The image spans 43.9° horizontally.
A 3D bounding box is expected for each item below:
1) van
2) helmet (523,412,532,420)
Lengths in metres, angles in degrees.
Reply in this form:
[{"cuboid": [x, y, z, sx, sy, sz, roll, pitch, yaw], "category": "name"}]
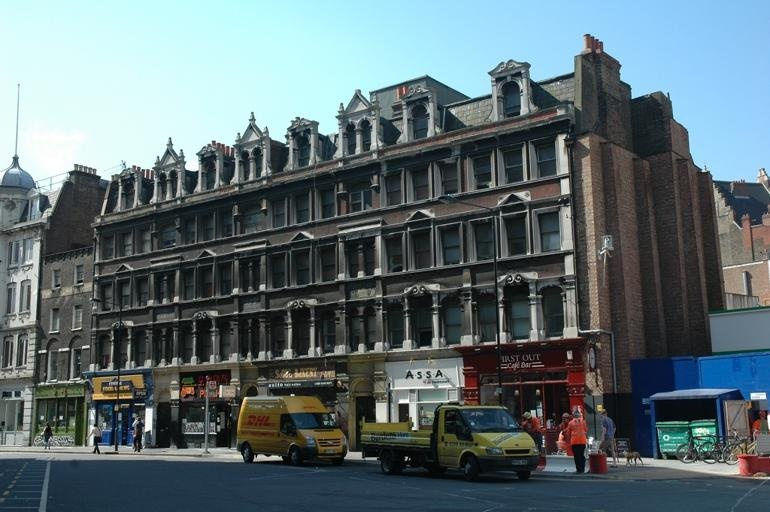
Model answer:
[{"cuboid": [-5.362, 10.166, 56.702, 3.693, 3.560, 7.577, 2, -9, -35], "category": "van"}, {"cuboid": [8.561, 9.579, 56.987, 0.483, 0.330, 0.418, -1, 5, -5], "category": "helmet"}]
